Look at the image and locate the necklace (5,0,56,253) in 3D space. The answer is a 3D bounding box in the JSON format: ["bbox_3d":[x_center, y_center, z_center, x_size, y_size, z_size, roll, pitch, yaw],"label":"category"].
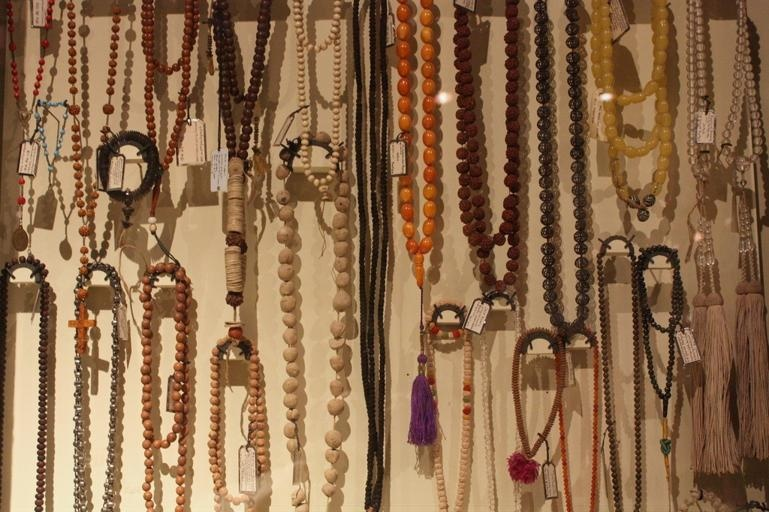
[{"bbox_3d":[-1.352,-0.479,5.088,0.179,0.927,0.247,2,8,-16],"label":"necklace"}]

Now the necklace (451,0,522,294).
[{"bbox_3d":[0.378,-0.409,5.082,0.310,1.071,0.247,4,8,3],"label":"necklace"}]

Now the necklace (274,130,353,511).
[{"bbox_3d":[-0.283,0.236,4.987,0.223,1.538,0.104,-1,1,-1],"label":"necklace"}]

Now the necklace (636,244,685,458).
[{"bbox_3d":[1.010,0.279,5.074,0.180,0.628,0.131,6,8,14],"label":"necklace"}]

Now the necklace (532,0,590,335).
[{"bbox_3d":[0.658,-0.292,5.062,0.164,1.386,0.111,1,4,6],"label":"necklace"}]

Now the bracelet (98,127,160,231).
[{"bbox_3d":[-0.968,-0.291,5.038,0.203,0.379,0.062,-3,7,-25],"label":"bracelet"}]

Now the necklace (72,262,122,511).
[{"bbox_3d":[-1.087,0.486,5.045,0.202,0.902,0.205,2,8,-15],"label":"necklace"}]

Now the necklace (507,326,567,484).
[{"bbox_3d":[0.557,0.558,5.036,0.202,0.576,0.152,5,8,9],"label":"necklace"}]

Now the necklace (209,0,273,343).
[{"bbox_3d":[-0.567,-0.325,5.052,0.223,1.227,0.293,3,8,-6],"label":"necklace"}]

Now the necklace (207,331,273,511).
[{"bbox_3d":[-0.545,0.592,5.047,0.236,0.695,0.157,2,8,-10],"label":"necklace"}]
